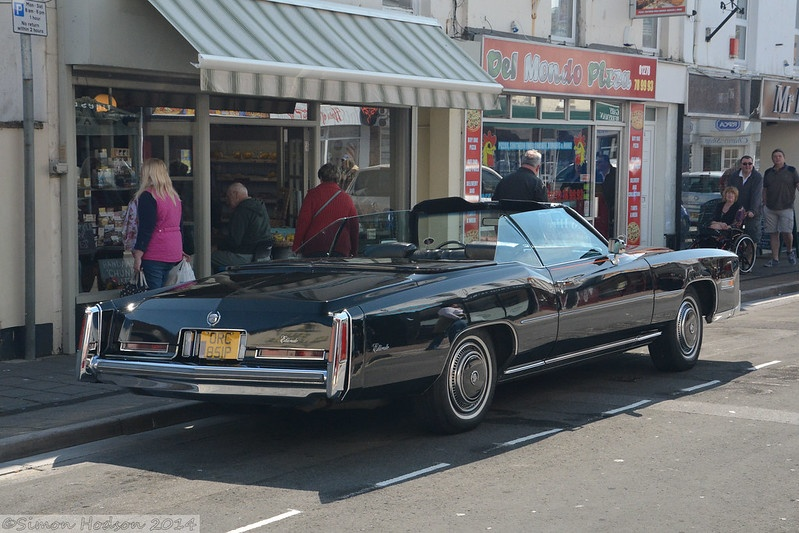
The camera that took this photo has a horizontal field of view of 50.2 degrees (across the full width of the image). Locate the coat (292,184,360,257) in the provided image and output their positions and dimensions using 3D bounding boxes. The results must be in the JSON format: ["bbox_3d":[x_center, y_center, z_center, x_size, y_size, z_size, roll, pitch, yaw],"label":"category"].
[{"bbox_3d":[-0.886,-0.552,10.096,0.908,1.082,0.541,3,-15,-4],"label":"coat"}]

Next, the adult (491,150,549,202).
[{"bbox_3d":[1.866,-1.239,12.645,0.817,0.935,0.496,13,1,39],"label":"adult"}]

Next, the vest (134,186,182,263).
[{"bbox_3d":[-2.865,-0.501,10.288,0.464,0.871,0.759,0,0,21],"label":"vest"}]

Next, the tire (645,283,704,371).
[{"bbox_3d":[3.236,0.702,9.833,0.355,1.016,1.004,1,35,41],"label":"tire"}]

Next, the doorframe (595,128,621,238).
[{"bbox_3d":[4.475,-1.970,18.183,0.477,2.077,0.095,6,28,20],"label":"doorframe"}]

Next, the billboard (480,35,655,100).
[{"bbox_3d":[3.445,-3.792,16.593,4.258,0.982,0.146,-2,4,-27],"label":"billboard"}]

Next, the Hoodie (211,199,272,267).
[{"bbox_3d":[-2.199,-0.507,11.753,0.788,1.050,0.826,5,15,8],"label":"Hoodie"}]

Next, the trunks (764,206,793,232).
[{"bbox_3d":[8.513,-0.980,19.079,0.755,0.773,0.456,-1,-3,35],"label":"trunks"}]

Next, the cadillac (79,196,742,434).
[{"bbox_3d":[0.363,0.488,8.163,6.092,2.131,1.738,-9,14,-34],"label":"cadillac"}]

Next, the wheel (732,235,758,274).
[{"bbox_3d":[6.654,-0.249,16.366,0.607,0.722,0.688,2,10,31],"label":"wheel"}]

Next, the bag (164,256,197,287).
[{"bbox_3d":[-2.578,0.057,9.991,0.176,0.329,0.314,12,6,24],"label":"bag"}]

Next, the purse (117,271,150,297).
[{"bbox_3d":[-3.152,0.207,10.113,0.357,0.381,0.235,-15,16,-40],"label":"purse"}]

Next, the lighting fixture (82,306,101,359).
[{"bbox_3d":[-2.614,0.551,7.269,0.168,0.389,0.126,-2,11,-8],"label":"lighting fixture"}]

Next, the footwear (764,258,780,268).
[{"bbox_3d":[8.205,-0.060,18.712,0.386,0.181,0.147,-2,2,0],"label":"footwear"}]

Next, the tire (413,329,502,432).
[{"bbox_3d":[0.485,0.973,7.381,0.784,0.910,0.325,-13,17,-43],"label":"tire"}]

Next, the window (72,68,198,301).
[{"bbox_3d":[-3.380,-1.068,10.657,0.158,3.263,2.696,5,7,33],"label":"window"}]
